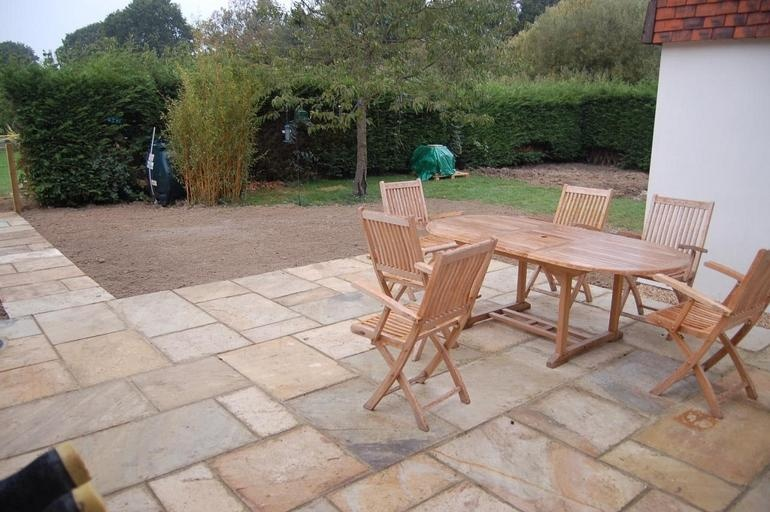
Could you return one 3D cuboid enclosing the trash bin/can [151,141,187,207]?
[{"bbox_3d":[-5.238,-1.939,10.345,0.678,1.355,0.971,8,11,37],"label":"trash bin/can"}]
